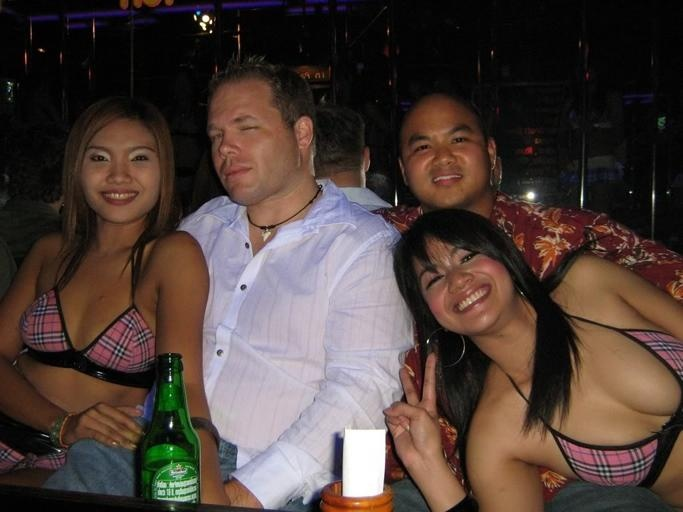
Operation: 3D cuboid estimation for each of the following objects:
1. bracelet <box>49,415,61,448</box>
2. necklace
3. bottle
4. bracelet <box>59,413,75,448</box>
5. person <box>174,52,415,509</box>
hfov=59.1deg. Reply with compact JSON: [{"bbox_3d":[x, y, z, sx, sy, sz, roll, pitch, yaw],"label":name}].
[{"bbox_3d":[-1.296,0.803,2.746,0.046,0.126,0.111,6,-22,-11],"label":"bracelet"},{"bbox_3d":[-0.255,-0.227,3.077,0.260,0.343,0.027,26,-19,32],"label":"necklace"},{"bbox_3d":[-0.525,0.535,1.822,0.181,0.457,0.330,-3,6,-18],"label":"bottle"},{"bbox_3d":[-1.247,0.797,2.733,0.057,0.144,0.056,3,8,37],"label":"bracelet"},{"bbox_3d":[-0.208,0.011,2.925,0.945,2.033,0.995,-4,7,-26],"label":"person"}]
